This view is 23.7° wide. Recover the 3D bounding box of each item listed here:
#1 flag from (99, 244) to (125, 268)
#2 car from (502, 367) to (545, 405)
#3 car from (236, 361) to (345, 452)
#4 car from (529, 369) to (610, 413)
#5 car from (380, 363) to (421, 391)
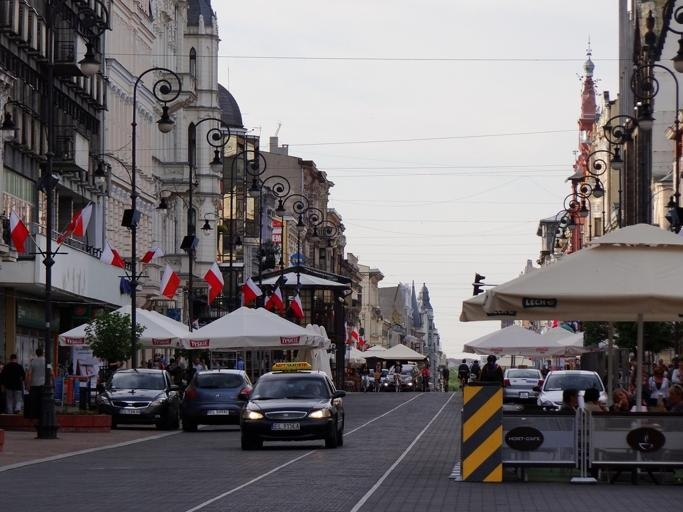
[{"bbox_3d":[-9.107,0.028,63.492,0.095,0.864,0.884,-28,-33,31],"label":"flag"},{"bbox_3d":[6.746,4.811,61.147,1.365,1.040,3.062,0,4,5],"label":"car"},{"bbox_3d":[-1.339,3.771,40.170,2.870,2.064,5.487,-1,-6,2],"label":"car"},{"bbox_3d":[6.701,3.781,47.351,1.808,1.465,3.206,-1,-10,2],"label":"car"},{"bbox_3d":[3.538,7.419,99.172,1.788,1.335,3.781,-1,-8,6],"label":"car"}]
